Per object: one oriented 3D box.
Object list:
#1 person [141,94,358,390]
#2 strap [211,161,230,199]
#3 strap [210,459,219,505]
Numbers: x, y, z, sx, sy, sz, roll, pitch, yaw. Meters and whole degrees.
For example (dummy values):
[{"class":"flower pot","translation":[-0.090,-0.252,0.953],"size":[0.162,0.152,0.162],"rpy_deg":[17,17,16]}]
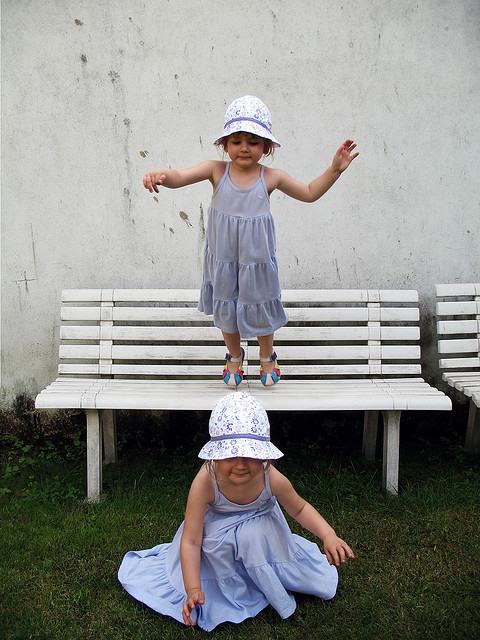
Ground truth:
[{"class":"person","translation":[0.072,-0.284,3.090],"size":[0.745,1.384,0.649],"rpy_deg":[2,11,9]},{"class":"strap","translation":[-0.073,-0.608,2.932],"size":[0.061,0.144,0.109],"rpy_deg":[6,13,31]},{"class":"strap","translation":[-0.093,0.633,2.529],"size":[0.022,0.122,0.100],"rpy_deg":[-1,-2,-18]}]
